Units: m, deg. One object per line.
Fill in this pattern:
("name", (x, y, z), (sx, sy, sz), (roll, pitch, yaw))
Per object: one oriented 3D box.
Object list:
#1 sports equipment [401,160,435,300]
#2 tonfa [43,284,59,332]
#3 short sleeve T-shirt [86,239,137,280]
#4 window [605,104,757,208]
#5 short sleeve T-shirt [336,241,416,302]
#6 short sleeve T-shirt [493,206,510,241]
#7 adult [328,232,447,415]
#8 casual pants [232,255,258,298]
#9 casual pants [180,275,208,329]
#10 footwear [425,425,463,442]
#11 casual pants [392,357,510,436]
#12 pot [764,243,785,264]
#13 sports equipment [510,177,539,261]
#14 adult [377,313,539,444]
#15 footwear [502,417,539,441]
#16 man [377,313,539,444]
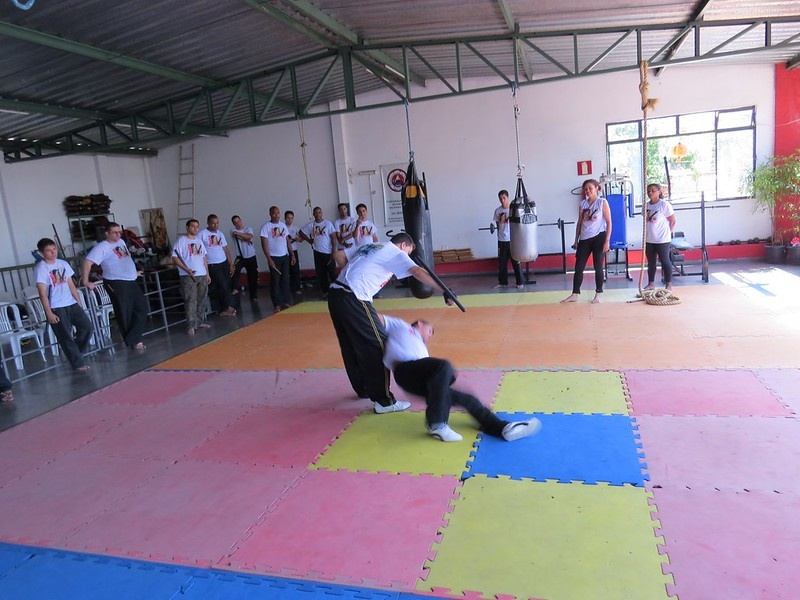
("sports equipment", (0.340, -1.094, 8.358), (0.337, 1.748, 0.333), (-6, 9, 30))
("tonfa", (-4.674, 0.064, 7.297), (0.142, 0.562, 0.163), (-14, 16, -38))
("short sleeve T-shirt", (-4.308, -0.633, 8.334), (0.487, 0.635, 0.784), (0, 12, 11))
("window", (5.810, -2.941, 11.562), (2.948, 1.901, 0.047), (8, 25, 45))
("short sleeve T-shirt", (-0.248, -0.292, 5.277), (0.562, 0.236, 0.644), (33, 45, 9))
("short sleeve T-shirt", (1.922, -1.423, 10.354), (0.167, 0.551, 0.453), (1, 3, -27))
("adult", (-0.136, 0.192, 5.416), (1.118, 1.751, 0.731), (0, 4, 3))
("casual pants", (-3.364, -0.483, 11.905), (0.531, 1.033, 0.358), (-2, -9, -11))
("casual pants", (-3.527, 0.040, 9.392), (0.260, 0.930, 0.450), (4, 15, 36))
("footwear", (0.388, 1.160, 4.860), (0.278, 0.127, 0.142), (1, 9, 18))
("casual pants", (0.421, 0.860, 4.859), (0.998, 0.714, 0.291), (-2, 13, 11))
("pot", (7.281, -0.904, 10.660), (0.353, 0.273, 0.346), (-1, 1, 0))
("sports equipment", (2.073, -1.242, 9.278), (0.429, 1.156, 0.297), (-3, 12, 9))
("adult", (0.474, 0.674, 5.091), (1.638, 0.657, 1.651), (-1, 37, 19))
("footwear", (1.035, 1.116, 4.784), (0.310, 0.128, 0.151), (-14, -11, -17))
("man", (0.481, 0.685, 5.075), (1.669, 0.657, 1.682), (-1, 36, 19))
